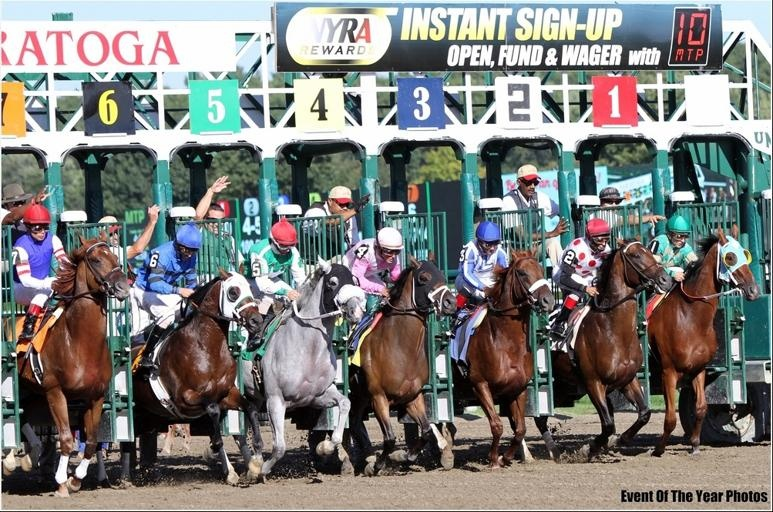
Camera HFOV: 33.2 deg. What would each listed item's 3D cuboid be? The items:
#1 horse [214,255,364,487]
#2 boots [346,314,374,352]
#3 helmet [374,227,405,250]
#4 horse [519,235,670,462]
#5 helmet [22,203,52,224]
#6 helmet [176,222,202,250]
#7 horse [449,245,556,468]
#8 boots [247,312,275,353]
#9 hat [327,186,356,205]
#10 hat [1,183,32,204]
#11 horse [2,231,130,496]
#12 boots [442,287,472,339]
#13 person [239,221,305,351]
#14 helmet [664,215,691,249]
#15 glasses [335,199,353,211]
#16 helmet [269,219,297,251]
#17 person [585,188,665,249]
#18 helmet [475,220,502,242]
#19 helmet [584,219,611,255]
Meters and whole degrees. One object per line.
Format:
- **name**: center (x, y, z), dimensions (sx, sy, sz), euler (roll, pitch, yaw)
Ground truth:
- **horse**: center (-1.138, 1.418, 14.862), dimensions (0.975, 2.475, 3.512), euler (4, -13, -25)
- **boots**: center (-0.271, 0.860, 14.750), dimensions (0.115, 0.455, 0.271), euler (26, -13, -23)
- **helmet**: center (0.056, -0.208, 14.557), dimensions (0.212, 0.215, 0.266), euler (-3, 7, -38)
- **horse**: center (2.499, 1.277, 15.904), dimensions (0.919, 2.604, 3.712), euler (3, -10, -12)
- **helmet**: center (-3.834, -0.467, 14.212), dimensions (0.207, 0.153, 0.281), euler (1, -1, -30)
- **helmet**: center (-2.161, -0.217, 14.422), dimensions (0.227, 0.212, 0.309), euler (0, 23, -37)
- **horse**: center (1.247, 1.337, 15.692), dimensions (0.931, 2.664, 3.779), euler (2, -4, -9)
- **boots**: center (-1.408, 0.824, 14.347), dimensions (0.300, 0.429, 0.167), euler (10, -8, 24)
- **hat**: center (-0.578, -0.751, 15.857), dimensions (0.201, 0.154, 0.274), euler (10, -2, -25)
- **hat**: center (-4.392, -0.746, 15.433), dimensions (0.280, 0.111, 0.265), euler (-23, 1, 37)
- **horse**: center (-3.312, 1.195, 13.988), dimensions (1.458, 2.336, 0.511), euler (-3, -1, 22)
- **boots**: center (0.866, 0.647, 15.199), dimensions (0.188, 0.721, 0.386), euler (7, 42, 0)
- **person**: center (-1.235, 0.304, 14.840), dimensions (0.572, 1.453, 0.976), euler (-9, 30, -17)
- **helmet**: center (3.567, -0.304, 15.805), dimensions (0.270, 0.359, 0.377), euler (0, 28, -9)
- **glasses**: center (-0.524, -0.614, 15.828), dimensions (0.137, 0.111, 0.226), euler (-14, -1, -20)
- **helmet**: center (-1.147, -0.242, 14.554), dimensions (0.290, 0.325, 0.261), euler (-3, -1, -7)
- **person**: center (2.868, -0.557, 16.039), dimensions (0.803, 0.458, 0.859), euler (1, -25, 4)
- **helmet**: center (1.151, -0.294, 15.005), dimensions (0.200, 0.150, 0.259), euler (-2, 10, -23)
- **helmet**: center (2.477, -0.239, 15.212), dimensions (0.301, 0.398, 0.382), euler (-1, 4, -16)
